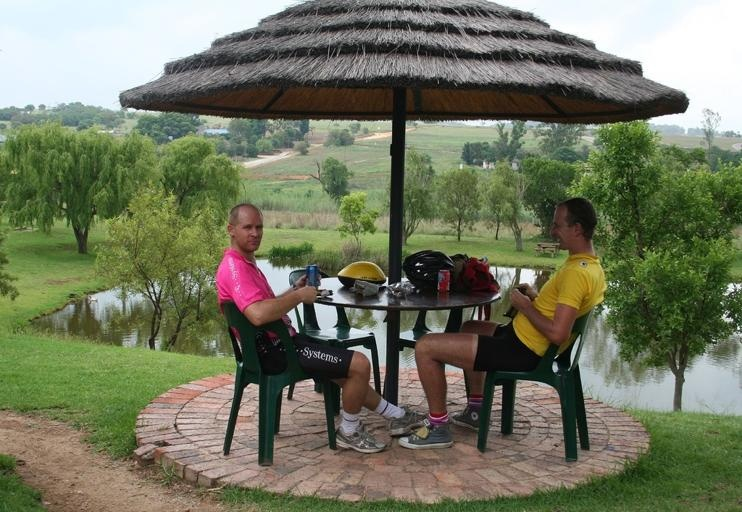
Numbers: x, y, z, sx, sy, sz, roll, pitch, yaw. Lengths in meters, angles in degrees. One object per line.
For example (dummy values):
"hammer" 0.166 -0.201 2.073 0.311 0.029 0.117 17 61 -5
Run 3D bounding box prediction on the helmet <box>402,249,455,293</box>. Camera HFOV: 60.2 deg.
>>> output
"helmet" 0.598 0.162 6.908 0.517 0.364 0.411 8 6 -3

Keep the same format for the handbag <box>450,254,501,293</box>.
"handbag" 1.160 0.205 6.865 0.366 0.196 0.466 5 0 41

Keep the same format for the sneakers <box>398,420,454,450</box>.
"sneakers" 0.564 1.806 6.434 0.620 0.259 0.217 2 -9 1

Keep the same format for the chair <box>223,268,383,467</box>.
"chair" -0.544 1.182 6.743 1.738 2.156 1.355 -2 -1 -6

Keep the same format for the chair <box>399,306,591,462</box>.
"chair" 1.379 1.310 6.985 1.545 1.878 1.355 2 -3 6

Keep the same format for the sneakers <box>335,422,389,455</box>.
"sneakers" -0.103 1.806 6.303 0.540 0.243 0.212 5 -1 1

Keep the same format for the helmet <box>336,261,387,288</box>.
"helmet" -0.078 0.191 6.886 0.383 0.220 0.326 4 4 42
